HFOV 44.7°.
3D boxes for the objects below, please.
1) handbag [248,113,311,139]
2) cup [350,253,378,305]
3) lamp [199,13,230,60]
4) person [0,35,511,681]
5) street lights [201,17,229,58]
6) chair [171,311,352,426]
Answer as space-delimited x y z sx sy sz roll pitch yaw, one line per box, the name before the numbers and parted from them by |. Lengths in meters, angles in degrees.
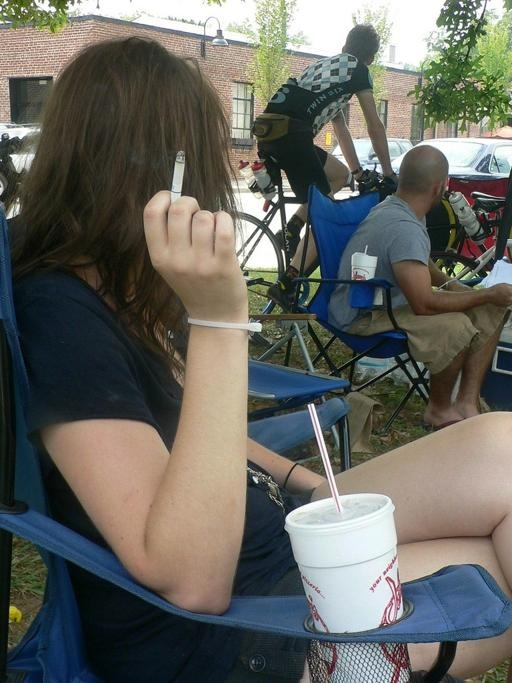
handbag | 0.154 -1.622 4.730 0.329 0.138 0.223 -7 11 -34
cup | 0.530 -0.315 3.150 0.152 0.241 0.146 4 5 0
lamp | -1.249 -8.880 18.301 0.865 1.160 0.447 10 18 27
person | 0.005 0.047 0.969 0.684 0.988 0.543 -7 19 -22
street lights | -1.236 -8.862 18.197 0.800 1.061 0.441 11 26 17
chair | 0.002 0.091 1.946 0.380 0.474 0.293 -6 13 -21
